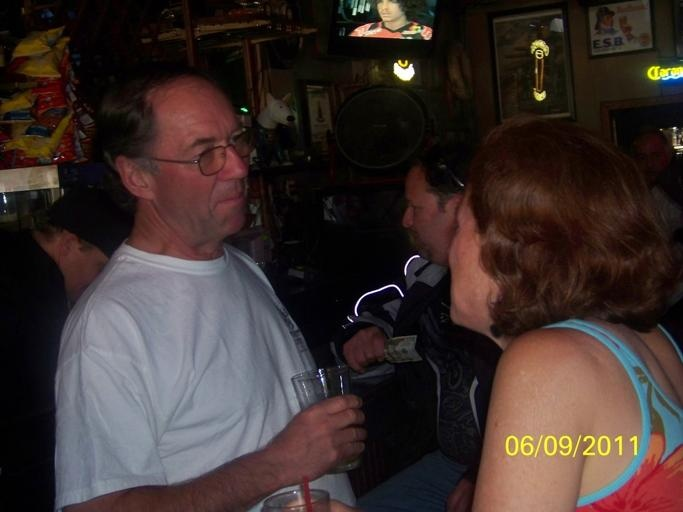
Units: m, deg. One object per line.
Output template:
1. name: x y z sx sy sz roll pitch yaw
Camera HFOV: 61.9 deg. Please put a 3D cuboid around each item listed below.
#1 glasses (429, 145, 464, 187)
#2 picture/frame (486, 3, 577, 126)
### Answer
1. glasses: 0.471 -0.399 2.576 0.108 0.150 0.142 10 45 -9
2. picture/frame: 2.316 -2.314 6.913 0.967 1.261 0.128 0 11 11
